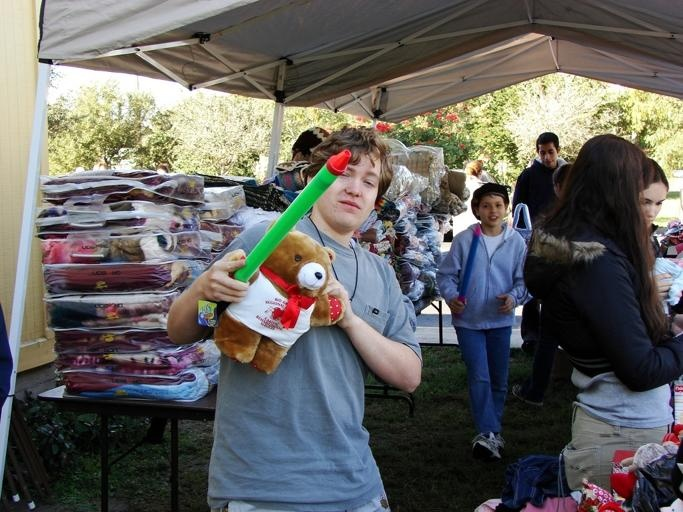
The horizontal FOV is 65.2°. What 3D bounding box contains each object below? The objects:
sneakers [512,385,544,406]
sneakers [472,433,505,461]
[{"bbox_3d":[1.826,1.387,5.358,0.130,0.118,0.333,1,13,-34],"label":"sneakers"},{"bbox_3d":[1.167,1.478,4.220,0.144,0.136,0.325,2,0,30],"label":"sneakers"}]
